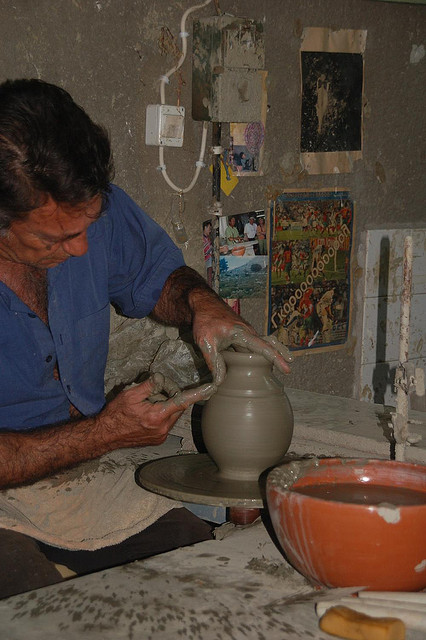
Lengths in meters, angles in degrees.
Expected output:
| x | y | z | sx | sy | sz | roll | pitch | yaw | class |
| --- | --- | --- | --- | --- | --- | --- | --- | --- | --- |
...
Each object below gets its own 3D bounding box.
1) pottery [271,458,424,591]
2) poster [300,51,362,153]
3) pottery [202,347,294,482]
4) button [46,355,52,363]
| x | y | z | sx | sy | sz | roll | pitch | yaw | class |
| --- | --- | --- | --- | --- | --- | --- | --- | --- | --- |
| 0.261 | 0.355 | 1.182 | 0.286 | 0.179 | 0.319 | -2 | 10 | 8 | pottery |
| 0.591 | -1.131 | 3.260 | 0.556 | 0.521 | 0.010 | -10 | 10 | -40 | poster |
| 0.075 | 0.243 | 1.685 | 0.244 | 0.321 | 0.236 | 5 | 2 | -5 | pottery |
| -0.496 | 0.115 | 1.943 | 0.007 | 0.024 | 0.018 | 2 | 12 | 30 | button |
